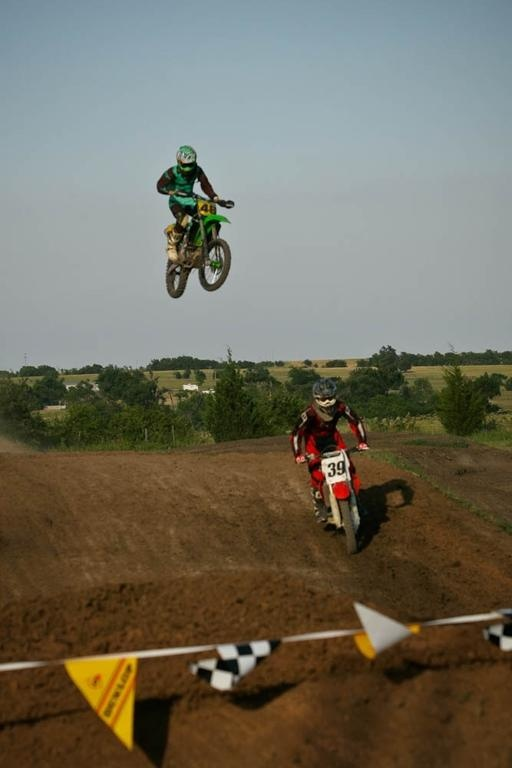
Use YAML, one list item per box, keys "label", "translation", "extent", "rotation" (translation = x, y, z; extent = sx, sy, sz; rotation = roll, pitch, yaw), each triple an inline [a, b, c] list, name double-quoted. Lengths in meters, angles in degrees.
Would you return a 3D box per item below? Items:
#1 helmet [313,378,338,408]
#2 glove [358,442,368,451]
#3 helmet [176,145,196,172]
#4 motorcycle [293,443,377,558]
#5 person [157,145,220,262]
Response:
- label: "helmet"
  translation: [0.755, 0.086, 7.799]
  extent: [0.235, 0.291, 0.327]
  rotation: [-3, 17, 0]
- label: "glove"
  translation: [1.144, 0.669, 7.480]
  extent: [0.082, 0.019, 0.083]
  rotation: [-16, 8, -8]
- label: "helmet"
  translation: [-1.027, -3.336, 10.386]
  extent: [0.273, 0.337, 0.631]
  rotation: [-1, 11, -8]
- label: "motorcycle"
  translation: [0.854, 1.195, 7.753]
  extent: [0.607, 1.157, 0.809]
  rotation: [2, 11, 9]
- label: "person"
  translation: [-1.152, -2.766, 10.940]
  extent: [0.738, 1.675, 1.110]
  rotation: [-6, 13, -32]
